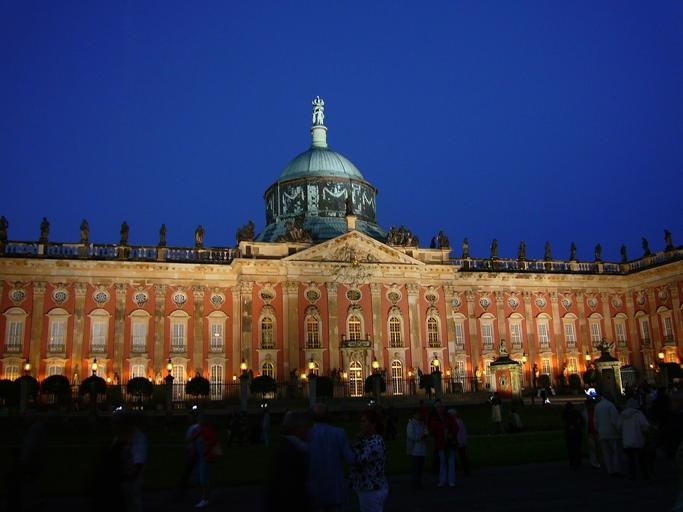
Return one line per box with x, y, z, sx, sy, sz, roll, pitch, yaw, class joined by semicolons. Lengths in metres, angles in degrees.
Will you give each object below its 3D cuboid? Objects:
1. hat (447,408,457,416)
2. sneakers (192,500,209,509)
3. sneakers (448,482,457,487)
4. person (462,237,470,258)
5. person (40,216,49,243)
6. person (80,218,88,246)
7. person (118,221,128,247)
3.441;4.836;23.376;0.249;0.159;0.267;1;-8;2;hat
-3.794;6.804;20.615;0.497;0.242;0.182;1;-19;3;sneakers
3.292;6.797;22.358;0.222;0.127;0.344;-4;-14;4;sneakers
10.452;-0.532;63.366;0.403;1.723;1.209;-7;-14;19;person
-21.167;-1.835;53.799;0.473;1.812;0.797;5;-15;-30;person
-18.595;-1.630;54.620;0.349;1.727;0.459;-14;-17;42;person
-15.874;-1.578;55.195;0.460;1.653;0.796;4;-14;-27;person
